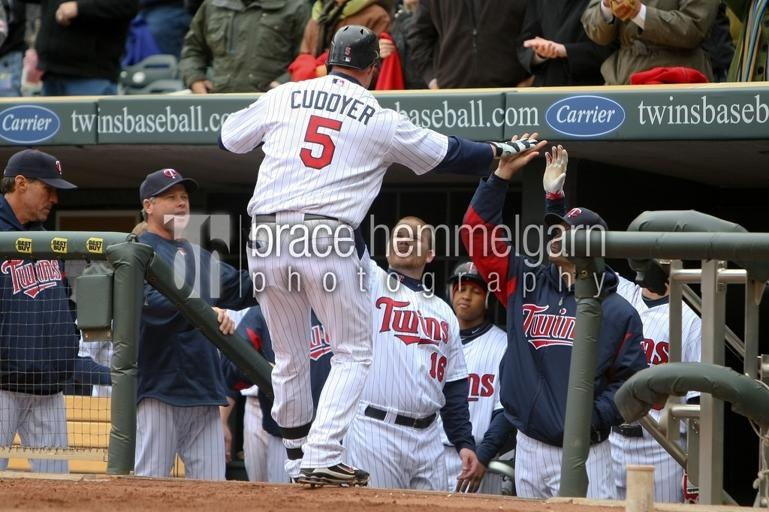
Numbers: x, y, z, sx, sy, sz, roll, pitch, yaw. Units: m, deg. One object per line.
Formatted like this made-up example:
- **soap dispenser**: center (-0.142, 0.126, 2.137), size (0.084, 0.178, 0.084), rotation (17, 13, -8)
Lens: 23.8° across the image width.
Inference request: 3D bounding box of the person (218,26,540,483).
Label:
- **person**: center (-0.257, -0.011, 10.766), size (1.372, 2.724, 0.402), rotation (0, -2, -7)

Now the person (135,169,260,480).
- **person**: center (-1.156, 0.717, 11.609), size (1.036, 2.296, 0.819), rotation (-1, 2, -7)

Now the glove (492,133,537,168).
- **glove**: center (0.789, -0.642, 11.051), size (0.269, 0.167, 0.084), rotation (-19, -37, -29)

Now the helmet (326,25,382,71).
- **helmet**: center (-0.177, -1.238, 10.791), size (0.237, 0.228, 0.303), rotation (5, 24, 10)

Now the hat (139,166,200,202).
- **hat**: center (-1.380, -0.477, 11.674), size (0.345, 0.163, 0.247), rotation (-1, 12, 45)

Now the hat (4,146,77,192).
- **hat**: center (-2.174, -0.551, 11.632), size (0.390, 0.189, 0.241), rotation (8, 0, -12)

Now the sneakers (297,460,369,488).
- **sneakers**: center (-0.276, 1.274, 10.653), size (0.401, 0.187, 0.150), rotation (-2, 1, -14)

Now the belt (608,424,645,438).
- **belt**: center (1.609, 1.147, 11.952), size (0.162, 0.062, 0.135), rotation (-2, -5, 15)

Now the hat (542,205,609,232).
- **hat**: center (1.184, -0.227, 11.272), size (0.285, 0.104, 0.171), rotation (10, 0, -7)
